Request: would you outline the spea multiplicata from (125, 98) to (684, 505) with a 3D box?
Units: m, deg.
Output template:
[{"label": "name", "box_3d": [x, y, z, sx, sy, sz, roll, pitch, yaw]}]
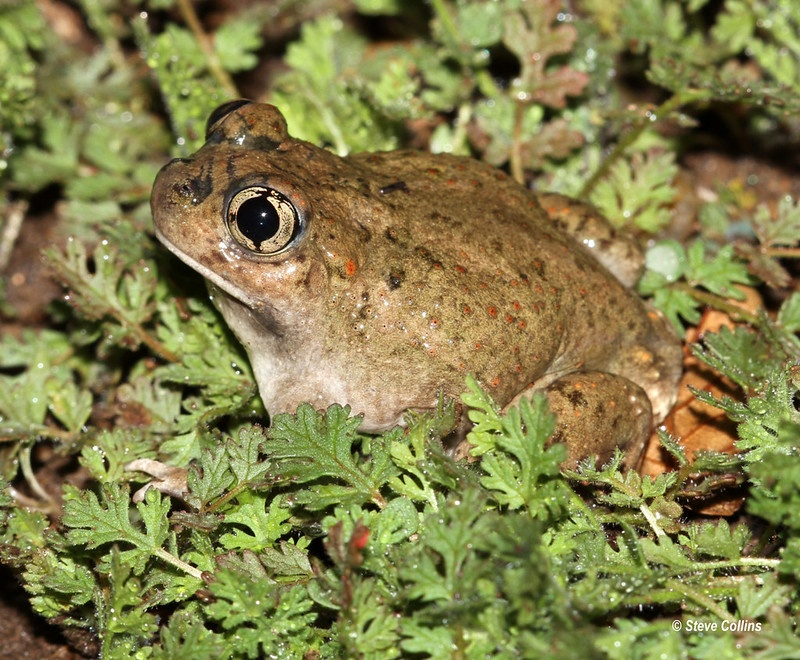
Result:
[{"label": "spea multiplicata", "box_3d": [0.068, -0.164, 3.429, 2.262, 0.877, 1.248, 22, 84, 3]}]
